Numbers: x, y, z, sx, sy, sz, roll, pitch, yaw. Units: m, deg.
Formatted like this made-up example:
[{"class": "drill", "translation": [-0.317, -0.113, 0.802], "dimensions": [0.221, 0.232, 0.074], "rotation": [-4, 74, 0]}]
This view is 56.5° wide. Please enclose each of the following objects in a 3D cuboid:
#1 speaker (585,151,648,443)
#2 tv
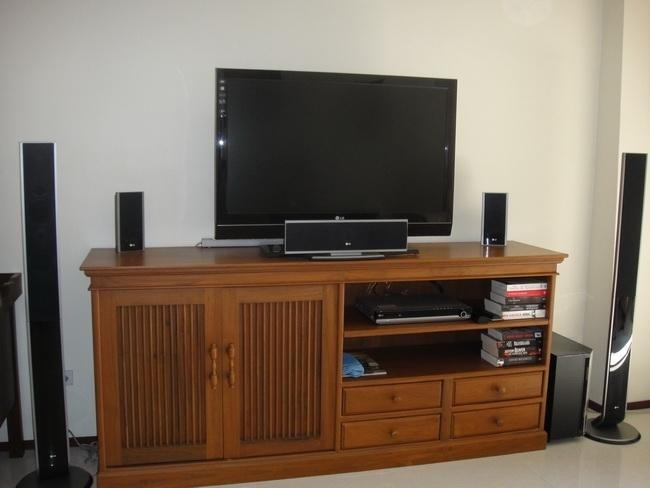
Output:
[{"class": "speaker", "translation": [1.737, 0.328, 3.573], "dimensions": [0.418, 1.719, 0.256], "rotation": [-4, 9, -14]}, {"class": "tv", "translation": [0.015, -0.454, 3.304], "dimensions": [1.143, 0.744, 0.084], "rotation": [-1, 5, -13]}]
